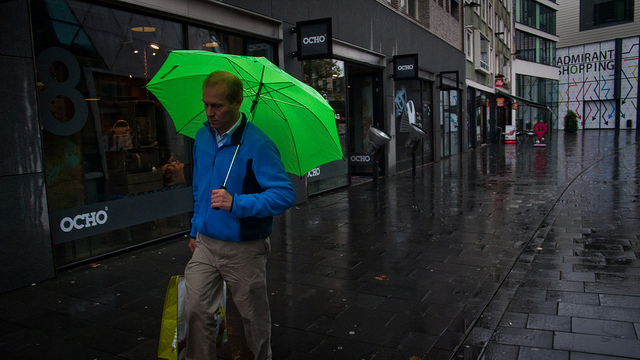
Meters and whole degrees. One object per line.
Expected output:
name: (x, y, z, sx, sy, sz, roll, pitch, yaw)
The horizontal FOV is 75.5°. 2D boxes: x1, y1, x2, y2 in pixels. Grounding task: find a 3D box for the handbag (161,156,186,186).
handbag: (-3.027, -0.153, 8.639, 0.508, 0.563, 0.287, -16, -10, -9)
